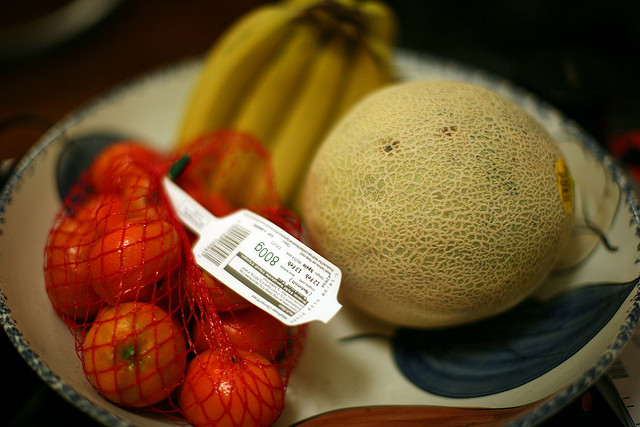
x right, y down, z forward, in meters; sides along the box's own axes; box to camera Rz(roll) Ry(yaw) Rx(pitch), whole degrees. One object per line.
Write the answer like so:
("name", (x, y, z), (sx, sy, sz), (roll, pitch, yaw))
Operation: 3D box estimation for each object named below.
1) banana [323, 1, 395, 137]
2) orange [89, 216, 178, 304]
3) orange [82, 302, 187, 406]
("banana", (0.086, -0.283, 1.168), (0.085, 0.116, 0.319), (16, 97, -2))
("orange", (-0.277, 0.064, 0.918), (0.129, 0.050, 0.131), (-3, 82, 1))
("orange", (-0.255, 0.199, 0.956), (0.140, 0.113, 0.152), (-35, 84, -10))
